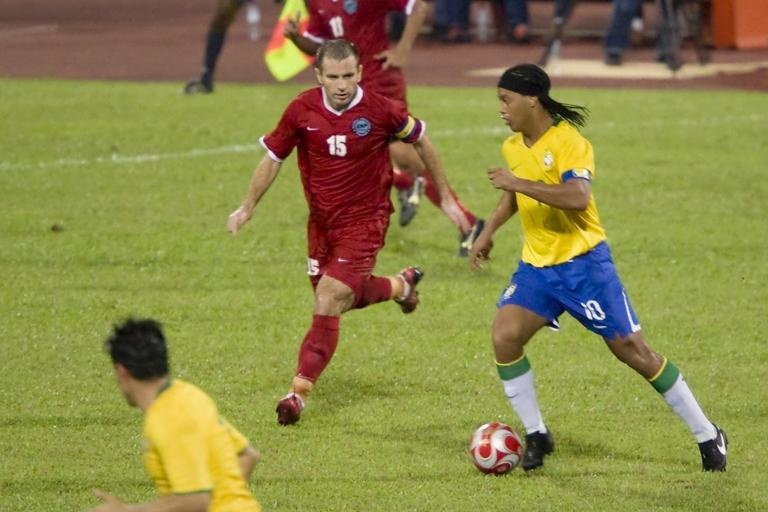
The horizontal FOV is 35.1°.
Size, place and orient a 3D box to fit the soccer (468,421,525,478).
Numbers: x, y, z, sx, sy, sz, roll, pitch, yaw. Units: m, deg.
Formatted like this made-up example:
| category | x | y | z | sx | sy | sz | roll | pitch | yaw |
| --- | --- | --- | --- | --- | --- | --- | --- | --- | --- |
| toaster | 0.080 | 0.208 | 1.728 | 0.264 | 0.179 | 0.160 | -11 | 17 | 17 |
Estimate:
| category | x | y | z | sx | sy | sz | roll | pitch | yaw |
| --- | --- | --- | --- | --- | --- | --- | --- | --- | --- |
| soccer | 0.732 | 1.167 | 7.517 | 0.316 | 0.319 | 0.309 | -5 | 13 | 10 |

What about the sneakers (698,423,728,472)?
| category | x | y | z | sx | sy | sz | roll | pitch | yaw |
| --- | --- | --- | --- | --- | --- | --- | --- | --- | --- |
| sneakers | 2.029 | 1.165 | 7.447 | 0.159 | 0.319 | 0.121 | 6 | -6 | -41 |

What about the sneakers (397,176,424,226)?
| category | x | y | z | sx | sy | sz | roll | pitch | yaw |
| --- | --- | --- | --- | --- | --- | --- | --- | --- | --- |
| sneakers | 0.214 | -0.494 | 10.624 | 0.237 | 0.467 | 0.161 | 2 | 23 | -18 |

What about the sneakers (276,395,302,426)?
| category | x | y | z | sx | sy | sz | roll | pitch | yaw |
| --- | --- | --- | --- | --- | --- | --- | --- | --- | --- |
| sneakers | -0.575 | 0.971 | 7.685 | 0.157 | 0.191 | 0.201 | 2 | -16 | 9 |

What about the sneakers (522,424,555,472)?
| category | x | y | z | sx | sy | sz | roll | pitch | yaw |
| --- | --- | --- | --- | --- | --- | --- | --- | --- | --- |
| sneakers | 0.946 | 1.195 | 7.490 | 0.118 | 0.140 | 0.317 | 2 | 24 | 33 |

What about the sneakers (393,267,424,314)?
| category | x | y | z | sx | sy | sz | roll | pitch | yaw |
| --- | --- | --- | --- | --- | --- | --- | --- | --- | --- |
| sneakers | 0.171 | 0.222 | 8.594 | 0.149 | 0.318 | 0.178 | 22 | -31 | -33 |

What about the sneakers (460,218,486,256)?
| category | x | y | z | sx | sy | sz | roll | pitch | yaw |
| --- | --- | --- | --- | --- | --- | --- | --- | --- | --- |
| sneakers | 0.658 | -0.146 | 8.931 | 0.192 | 0.261 | 0.089 | 5 | 28 | -45 |
